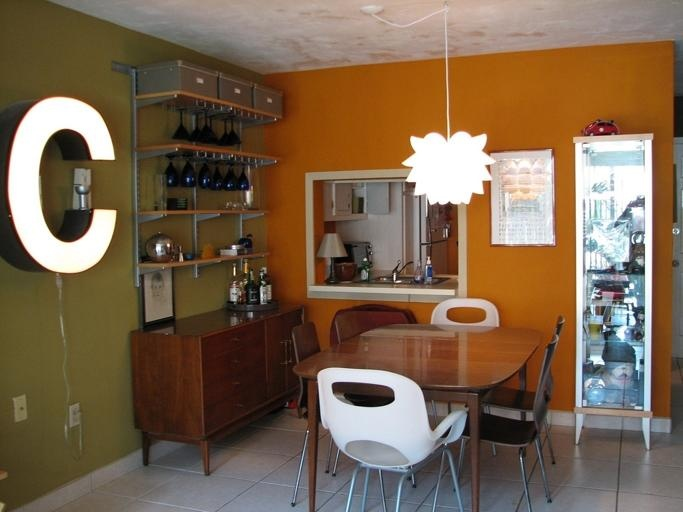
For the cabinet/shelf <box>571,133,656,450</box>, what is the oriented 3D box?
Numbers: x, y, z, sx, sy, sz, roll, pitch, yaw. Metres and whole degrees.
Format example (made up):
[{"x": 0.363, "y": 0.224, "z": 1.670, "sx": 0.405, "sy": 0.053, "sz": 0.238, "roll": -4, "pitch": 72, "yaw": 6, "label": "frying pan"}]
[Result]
[{"x": 2.107, "y": 0.281, "z": 4.745, "sx": 0.558, "sy": 2.417, "sz": 0.344, "roll": 0, "pitch": 8, "yaw": 25, "label": "cabinet/shelf"}]

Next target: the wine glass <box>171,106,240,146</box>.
[{"x": -1.130, "y": -1.007, "z": 4.938, "sx": 0.337, "sy": 0.192, "sz": 0.347, "roll": 4, "pitch": 5, "yaw": 27, "label": "wine glass"}]

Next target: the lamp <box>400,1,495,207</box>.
[{"x": 0.691, "y": -1.016, "z": 4.041, "sx": 0.544, "sy": 1.321, "sz": 1.366, "roll": -2, "pitch": 7, "yaw": 12, "label": "lamp"}]

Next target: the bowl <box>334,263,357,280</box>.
[{"x": 0.042, "y": 0.154, "z": 5.969, "sx": 0.176, "sy": 0.130, "sz": 0.151, "roll": -1, "pitch": -1, "yaw": 15, "label": "bowl"}]

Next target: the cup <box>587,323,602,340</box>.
[{"x": 2.025, "y": 0.607, "z": 4.869, "sx": 0.103, "sy": 0.122, "sz": 0.106, "roll": 1, "pitch": 5, "yaw": 0, "label": "cup"}]

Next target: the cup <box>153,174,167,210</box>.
[{"x": -1.392, "y": -0.493, "z": 4.699, "sx": 0.122, "sy": 0.268, "sz": 0.129, "roll": -4, "pitch": 7, "yaw": 0, "label": "cup"}]

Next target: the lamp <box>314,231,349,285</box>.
[{"x": -0.075, "y": 0.008, "z": 6.098, "sx": 0.401, "sy": 0.653, "sz": 0.438, "roll": -2, "pitch": 7, "yaw": -1, "label": "lamp"}]

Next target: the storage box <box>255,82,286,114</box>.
[{"x": -0.642, "y": -1.411, "z": 5.490, "sx": 0.219, "sy": 0.262, "sz": 0.415, "roll": 2, "pitch": 5, "yaw": 23, "label": "storage box"}]

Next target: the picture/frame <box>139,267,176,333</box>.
[{"x": -1.442, "y": 0.340, "z": 4.710, "sx": 0.036, "sy": 0.538, "sz": 0.468, "roll": -1, "pitch": 1, "yaw": 26, "label": "picture/frame"}]

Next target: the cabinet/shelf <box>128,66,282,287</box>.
[{"x": -1.165, "y": -0.671, "z": 5.019, "sx": 0.503, "sy": 2.002, "sz": 1.949, "roll": 0, "pitch": 2, "yaw": 21, "label": "cabinet/shelf"}]

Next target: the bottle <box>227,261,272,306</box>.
[{"x": -0.866, "y": 0.245, "z": 5.521, "sx": 0.418, "sy": 0.513, "sz": 0.321, "roll": -2, "pitch": 2, "yaw": -30, "label": "bottle"}]

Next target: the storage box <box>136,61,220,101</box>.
[{"x": -1.230, "y": -1.318, "z": 4.573, "sx": 0.623, "sy": 0.241, "sz": 0.308, "roll": -6, "pitch": 7, "yaw": -18, "label": "storage box"}]
